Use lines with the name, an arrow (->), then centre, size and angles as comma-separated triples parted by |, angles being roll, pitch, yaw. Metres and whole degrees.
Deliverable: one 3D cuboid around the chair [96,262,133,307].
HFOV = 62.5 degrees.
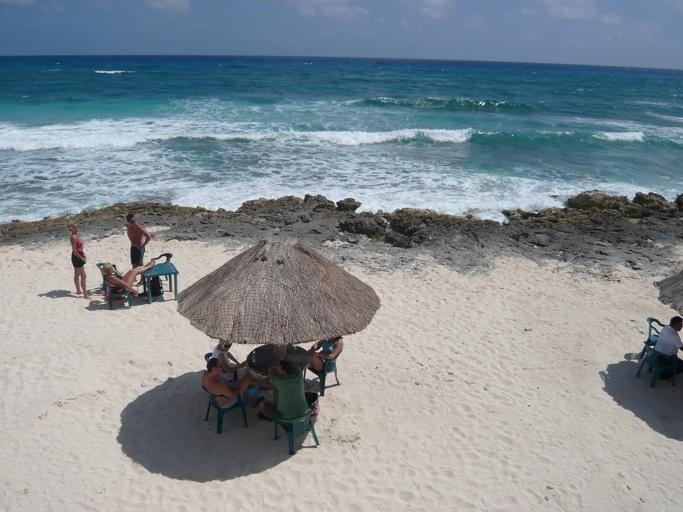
chair -> -5.311, 0.705, 13.149 | 0.961, 0.901, 0.731 | -3, 36, -12
